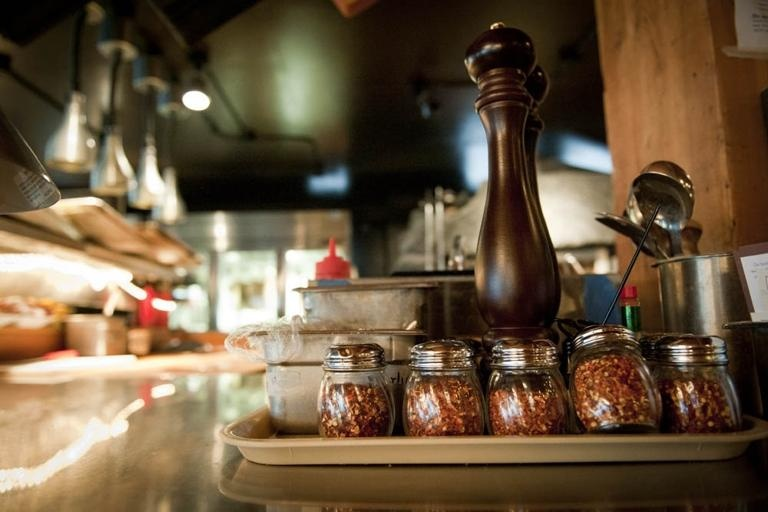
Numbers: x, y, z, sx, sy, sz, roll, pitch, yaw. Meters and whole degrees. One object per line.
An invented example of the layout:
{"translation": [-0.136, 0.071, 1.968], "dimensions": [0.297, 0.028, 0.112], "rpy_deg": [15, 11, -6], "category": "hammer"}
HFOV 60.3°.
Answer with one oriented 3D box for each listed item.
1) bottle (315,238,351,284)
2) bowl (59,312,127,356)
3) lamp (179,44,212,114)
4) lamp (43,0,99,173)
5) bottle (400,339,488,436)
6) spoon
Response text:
{"translation": [-0.145, 0.015, 1.954], "dimensions": [0.118, 0.127, 0.121], "rpy_deg": [-2, -11, 13], "category": "bottle"}
{"translation": [-1.400, 0.375, 3.234], "dimensions": [0.223, 0.154, 0.217], "rpy_deg": [0, -3, 0], "category": "bowl"}
{"translation": [-1.111, -1.015, 3.875], "dimensions": [0.163, 0.312, 0.694], "rpy_deg": [-3, 8, -14], "category": "lamp"}
{"translation": [-1.383, -0.684, 2.882], "dimensions": [0.216, 0.617, 0.974], "rpy_deg": [-5, 9, -25], "category": "lamp"}
{"translation": [0.150, 0.335, 1.733], "dimensions": [0.222, 0.238, 0.221], "rpy_deg": [-3, -7, 25], "category": "bottle"}
{"translation": [0.755, -0.138, 1.886], "dimensions": [0.207, 0.346, 0.172], "rpy_deg": [15, 23, 42], "category": "spoon"}
